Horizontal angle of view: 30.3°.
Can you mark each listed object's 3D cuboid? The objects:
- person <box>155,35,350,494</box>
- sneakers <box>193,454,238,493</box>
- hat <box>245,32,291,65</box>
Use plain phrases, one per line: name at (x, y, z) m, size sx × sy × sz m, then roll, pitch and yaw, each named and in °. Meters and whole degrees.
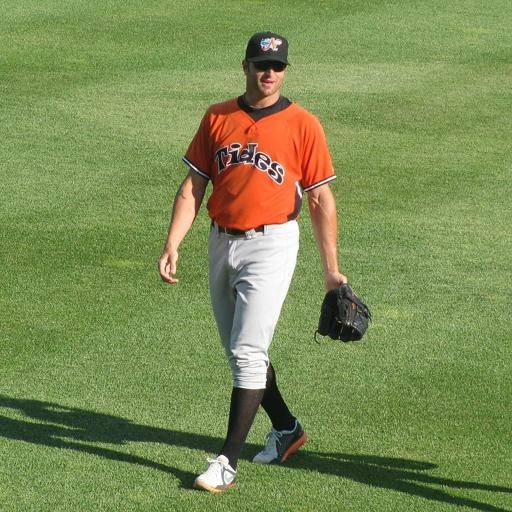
person at (-0.046, -0.021, 5.277) m, size 0.920 × 2.303 × 0.849 m, roll -11°, pitch 24°, yaw -35°
sneakers at (-0.200, 1.169, 5.104) m, size 0.117 × 0.176 × 0.302 m, roll 7°, pitch 3°, yaw 28°
hat at (0.052, -1.125, 5.147) m, size 0.152 × 0.136 × 0.219 m, roll 4°, pitch 12°, yaw -5°
